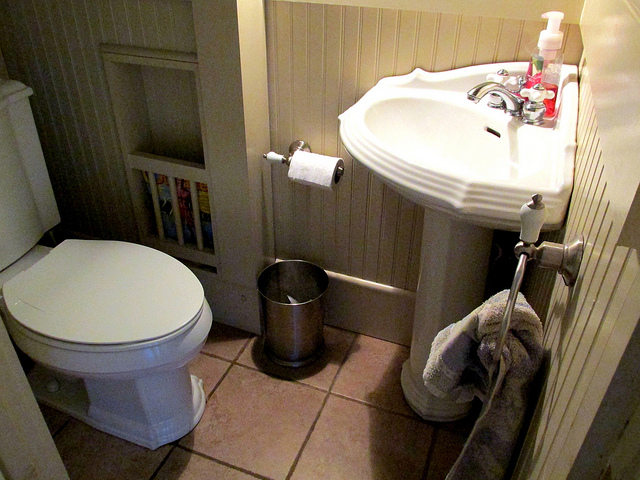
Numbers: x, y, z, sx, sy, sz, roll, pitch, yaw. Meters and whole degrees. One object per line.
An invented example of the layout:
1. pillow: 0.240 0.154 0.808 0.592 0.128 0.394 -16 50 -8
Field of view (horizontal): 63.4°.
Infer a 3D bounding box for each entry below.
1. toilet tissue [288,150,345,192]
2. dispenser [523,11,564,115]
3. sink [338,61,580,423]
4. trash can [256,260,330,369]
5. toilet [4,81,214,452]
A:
1. toilet tissue: -0.002 -0.247 1.703 0.163 0.118 0.155 17 29 19
2. dispenser: 0.590 -0.459 1.360 0.080 0.245 0.084 12 21 27
3. sink: 0.375 0.068 1.563 0.631 1.051 0.610 23 42 31
4. trash can: -0.092 0.278 1.917 0.235 0.278 0.239 -14 19 -27
5. toilet: -0.725 0.119 1.589 0.793 0.926 0.476 25 43 33
